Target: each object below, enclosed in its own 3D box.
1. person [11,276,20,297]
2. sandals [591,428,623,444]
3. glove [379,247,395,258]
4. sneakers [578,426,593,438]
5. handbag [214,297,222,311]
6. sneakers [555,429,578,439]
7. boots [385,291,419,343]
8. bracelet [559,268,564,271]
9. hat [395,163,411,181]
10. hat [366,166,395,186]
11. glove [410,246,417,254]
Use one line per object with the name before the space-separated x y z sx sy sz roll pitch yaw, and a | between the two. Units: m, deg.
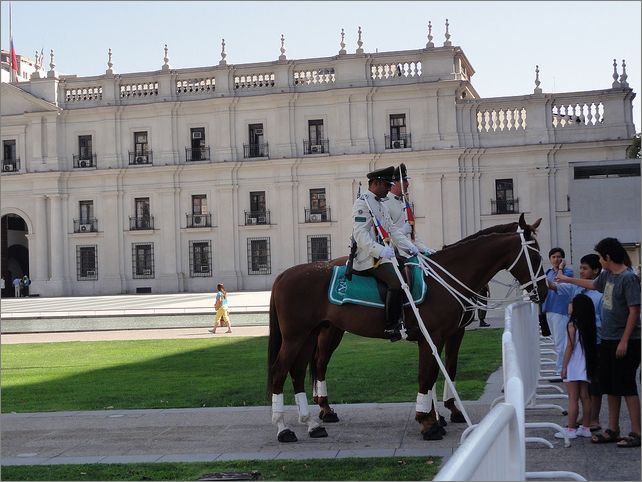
person | -16.733 2.631 49.758 0.326 1.111 1.320 -5 0 -18
sandals | 4.477 3.116 14.266 0.501 0.192 0.183 1 -4 1
glove | 1.088 0.213 14.977 0.255 0.219 0.123 -5 0 2
sneakers | 4.196 3.077 14.411 0.115 0.122 0.288 -2 3 -2
handbag | -3.350 2.041 28.866 0.190 0.434 0.322 13 5 13
sneakers | 3.910 3.113 14.342 0.382 0.158 0.150 3 4 19
boots | 1.236 1.248 15.062 0.376 0.872 0.158 -5 0 3
bracelet | 4.611 0.567 17.340 0.059 0.043 0.059 0 -2 -7
hat | 1.405 -1.252 15.908 0.299 0.194 0.380 5 -29 -17
hat | 1.023 -1.107 15.446 0.350 0.187 0.314 -5 -4 44
glove | 1.571 0.173 15.237 0.103 0.150 0.148 -5 0 26
